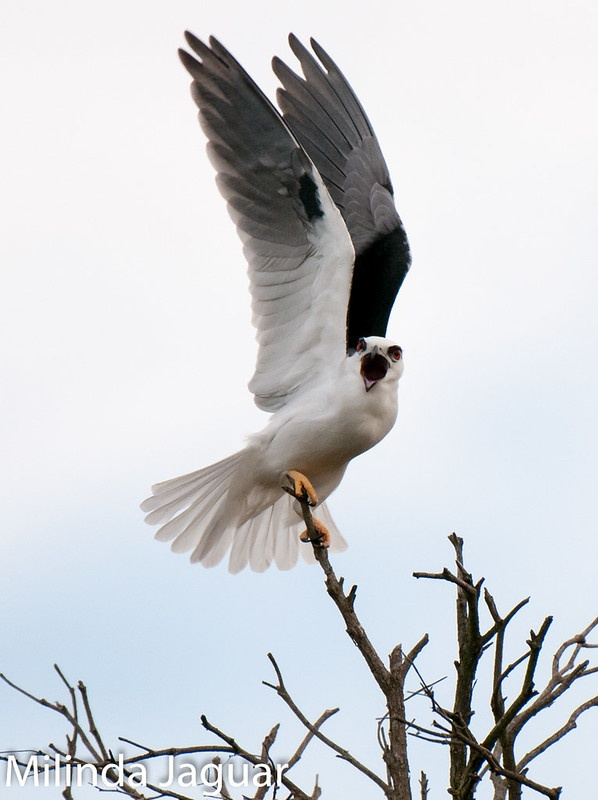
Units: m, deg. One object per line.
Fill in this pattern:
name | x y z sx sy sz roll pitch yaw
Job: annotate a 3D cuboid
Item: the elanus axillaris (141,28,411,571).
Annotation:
elanus axillaris | 0.000 -0.407 6.331 1.308 2.062 2.128 2 -1 25
